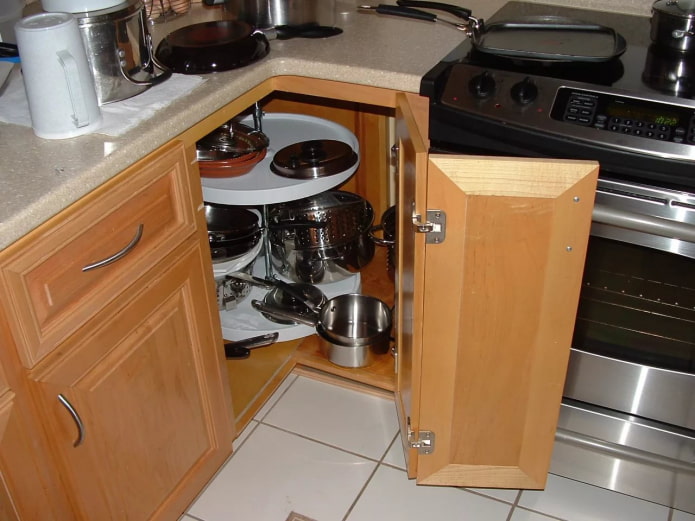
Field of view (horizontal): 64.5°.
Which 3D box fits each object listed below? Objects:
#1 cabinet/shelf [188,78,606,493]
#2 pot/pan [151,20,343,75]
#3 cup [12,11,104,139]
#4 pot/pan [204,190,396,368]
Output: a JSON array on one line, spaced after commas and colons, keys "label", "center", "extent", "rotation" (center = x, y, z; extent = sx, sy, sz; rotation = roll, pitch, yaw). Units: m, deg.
[{"label": "cabinet/shelf", "center": [0.063, -0.023, 1.573], "extent": [1.060, 0.779, 0.915], "rotation": [12, 28, 14]}, {"label": "pot/pan", "center": [-0.224, -0.507, 1.299], "extent": [0.413, 0.047, 0.203], "rotation": [-4, 25, -4]}, {"label": "cup", "center": [-0.520, -0.322, 0.989], "extent": [0.120, 0.201, 0.065], "rotation": [-14, 36, -18]}, {"label": "pot/pan", "center": [-0.086, 0.046, 1.947], "extent": [0.504, 0.245, 0.652], "rotation": [24, 45, 27]}]
